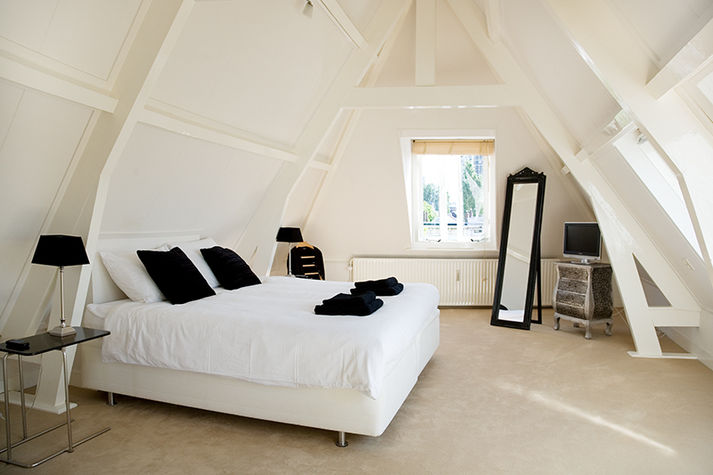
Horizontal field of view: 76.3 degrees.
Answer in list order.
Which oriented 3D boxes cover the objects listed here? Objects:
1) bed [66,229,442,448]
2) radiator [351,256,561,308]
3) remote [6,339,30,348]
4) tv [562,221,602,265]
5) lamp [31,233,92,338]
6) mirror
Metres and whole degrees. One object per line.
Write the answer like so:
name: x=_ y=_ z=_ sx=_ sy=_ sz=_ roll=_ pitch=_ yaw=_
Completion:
bed: x=-0.683 y=1.013 z=4.242 sx=2.057 sy=1.031 sz=2.250 roll=0 pitch=0 yaw=15
radiator: x=1.680 y=0.694 z=7.511 sx=2.504 sy=0.788 sz=0.101 roll=0 pitch=1 yaw=-3
remote: x=-2.609 y=0.838 z=3.552 sx=0.092 sy=0.024 sz=0.104 roll=3 pitch=1 yaw=0
tv: x=3.086 y=0.080 z=6.177 sx=0.246 sy=0.595 sz=0.578 roll=4 pitch=-4 yaw=-42
lamp: x=-2.498 y=0.391 z=3.916 sx=0.365 sy=0.836 sz=0.499 roll=0 pitch=11 yaw=1
mirror: x=2.433 y=0.116 z=6.651 sx=0.669 sy=2.222 sz=1.102 roll=4 pitch=12 yaw=23
